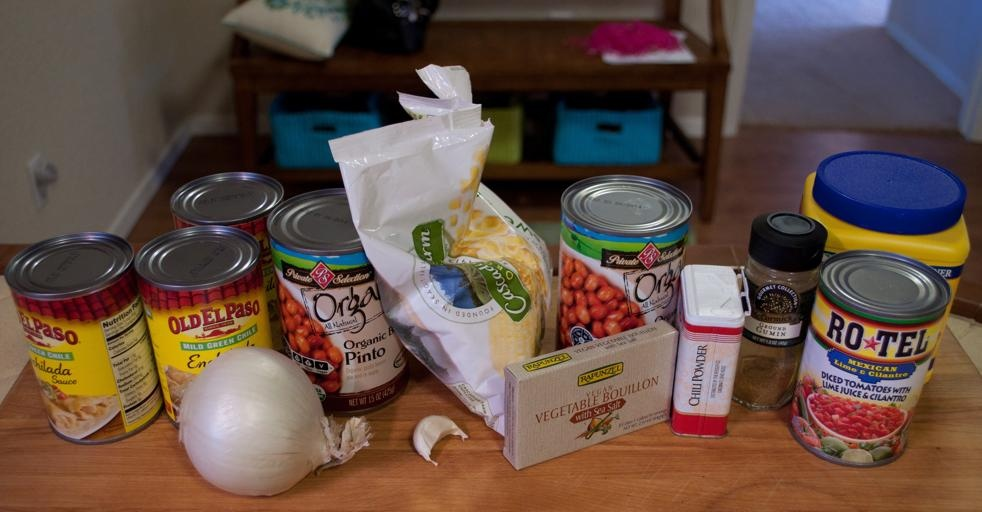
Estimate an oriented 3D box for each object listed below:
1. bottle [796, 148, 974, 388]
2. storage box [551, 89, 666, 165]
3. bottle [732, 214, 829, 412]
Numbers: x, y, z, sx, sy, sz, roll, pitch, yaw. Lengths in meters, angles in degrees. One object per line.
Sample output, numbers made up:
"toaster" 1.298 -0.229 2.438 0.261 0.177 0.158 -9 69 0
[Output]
"bottle" 0.754 0.024 1.643 0.339 0.465 0.352 4 24 -2
"storage box" 0.431 -0.455 2.733 0.346 0.188 0.308 2 28 2
"bottle" 0.534 0.113 1.487 0.151 0.422 0.132 -3 27 -3
